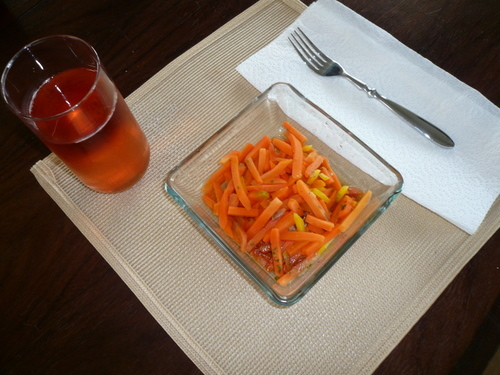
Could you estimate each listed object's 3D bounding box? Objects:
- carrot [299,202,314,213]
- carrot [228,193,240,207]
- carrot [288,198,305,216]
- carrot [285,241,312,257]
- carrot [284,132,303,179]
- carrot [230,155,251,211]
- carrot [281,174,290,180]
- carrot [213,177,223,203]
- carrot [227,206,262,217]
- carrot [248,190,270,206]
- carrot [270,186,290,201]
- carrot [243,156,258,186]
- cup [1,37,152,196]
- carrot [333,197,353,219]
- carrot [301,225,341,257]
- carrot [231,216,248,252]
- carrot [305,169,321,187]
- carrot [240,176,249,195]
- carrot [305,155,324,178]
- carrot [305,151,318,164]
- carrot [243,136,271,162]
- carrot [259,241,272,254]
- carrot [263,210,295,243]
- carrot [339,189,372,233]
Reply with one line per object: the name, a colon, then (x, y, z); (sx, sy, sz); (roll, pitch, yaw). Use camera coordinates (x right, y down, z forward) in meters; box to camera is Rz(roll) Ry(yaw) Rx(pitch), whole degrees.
carrot: (0.172, 0.055, 1.206); (0.008, 0.032, 0.031); (-44, 32, 0)
carrot: (-0.053, 0.037, 1.222); (0.035, 0.010, 0.036); (-19, 65, 20)
carrot: (0.140, 0.054, 1.217); (0.029, 0.017, 0.060); (-36, 104, -14)
carrot: (0.133, 0.174, 1.163); (0.082, 0.022, 0.036); (-28, 55, 13)
carrot: (0.133, -0.098, 1.233); (0.031, 0.033, 0.143); (-16, 69, 29)
carrot: (-0.041, -0.029, 1.227); (0.030, 0.029, 0.205); (-17, 42, 4)
carrot: (0.110, -0.035, 1.255); (0.029, 0.016, 0.019); (3, 88, -32)
carrot: (-0.102, 0.005, 1.243); (0.025, 0.020, 0.090); (-29, 56, 31)
carrot: (-0.020, 0.072, 1.199); (0.079, 0.022, 0.030); (2, 87, 0)
carrot: (0.026, 0.029, 1.210); (0.037, 0.009, 0.043); (-10, 99, 13)
carrot: (0.096, 0.018, 1.215); (0.041, 0.017, 0.043); (16, 62, 9)
carrot: (0.009, -0.046, 1.251); (0.026, 0.024, 0.115); (3, 97, -6)
cup: (-0.531, -0.186, 1.202); (0.259, 0.424, 0.266); (-3, 69, 9)
carrot: (0.279, 0.060, 1.200); (0.023, 0.049, 0.065); (30, 82, -24)
carrot: (0.206, 0.157, 1.158); (0.121, 0.021, 0.031); (-36, 40, -9)
carrot: (-0.029, 0.138, 1.183); (0.026, 0.026, 0.124); (0, 41, -7)
carrot: (0.193, -0.032, 1.226); (0.018, 0.021, 0.082); (34, 86, 16)
carrot: (-0.018, -0.008, 1.231); (0.014, 0.009, 0.060); (-11, 69, -15)
carrot: (0.198, -0.068, 1.233); (0.030, 0.024, 0.092); (10, 53, 47)
carrot: (0.193, -0.094, 1.248); (0.024, 0.014, 0.038); (23, 54, -7)
carrot: (0.034, -0.134, 1.312); (0.126, 0.034, 0.039); (-49, 40, -12)
carrot: (0.045, 0.179, 1.187); (0.030, 0.012, 0.034); (-2, 76, 21)
carrot: (0.083, 0.118, 1.183); (0.026, 0.028, 0.106); (35, 62, 23)
carrot: (0.312, 0.070, 1.178); (0.022, 0.099, 0.107); (35, 87, 3)
